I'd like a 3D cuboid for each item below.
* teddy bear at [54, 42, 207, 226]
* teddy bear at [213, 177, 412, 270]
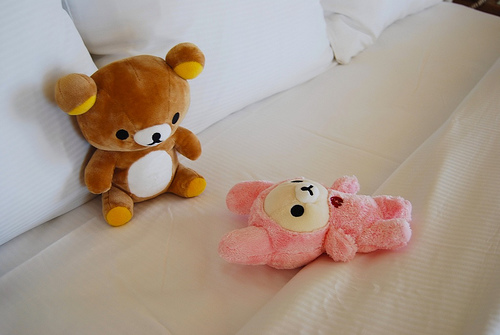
[{"bbox_3d":[-0.328,-0.105,1.222,0.443,0.464,0.259,-27,49,-35],"label":"teddy bear"},{"bbox_3d":[0.163,0.135,1.070,0.414,0.172,0.274,-3,38,3],"label":"teddy bear"}]
